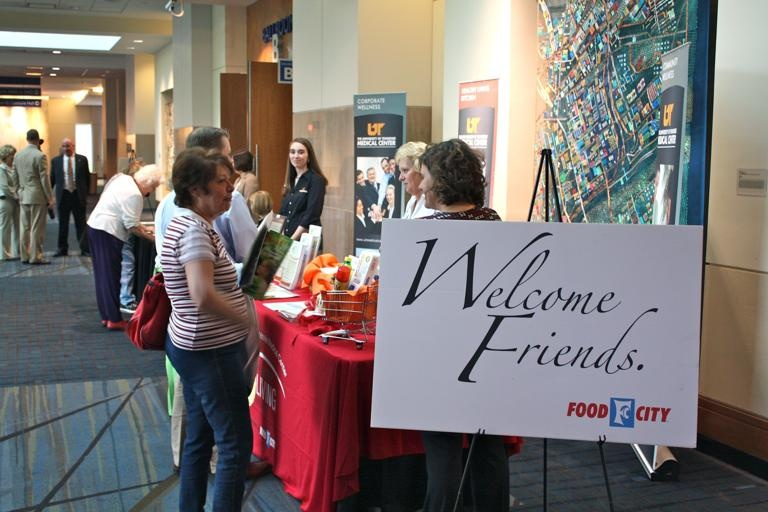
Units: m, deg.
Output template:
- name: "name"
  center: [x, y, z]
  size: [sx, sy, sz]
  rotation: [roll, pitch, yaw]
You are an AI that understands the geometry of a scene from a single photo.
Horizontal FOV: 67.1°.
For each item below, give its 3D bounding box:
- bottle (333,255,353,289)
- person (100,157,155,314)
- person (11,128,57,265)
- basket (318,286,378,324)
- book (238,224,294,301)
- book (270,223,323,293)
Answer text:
- name: "bottle"
  center: [-0.244, 0.094, 3.385]
  size: [0.145, 0.165, 0.469]
  rotation: [1, 5, -4]
- name: "person"
  center: [-2.828, -0.096, 6.344]
  size: [0.837, 1.788, 0.340]
  rotation: [4, 9, 25]
- name: "person"
  center: [-5.923, -1.016, 9.769]
  size: [0.529, 2.249, 0.815]
  rotation: [-5, 10, -34]
- name: "basket"
  center: [-0.180, 0.249, 3.129]
  size: [0.313, 0.229, 0.236]
  rotation: [4, -1, 24]
- name: "book"
  center: [-0.649, -0.007, 2.960]
  size: [0.230, 0.318, 0.294]
  rotation: [26, 11, 7]
- name: "book"
  center: [-0.542, 0.003, 3.875]
  size: [0.098, 0.409, 0.373]
  rotation: [12, 2, -31]
